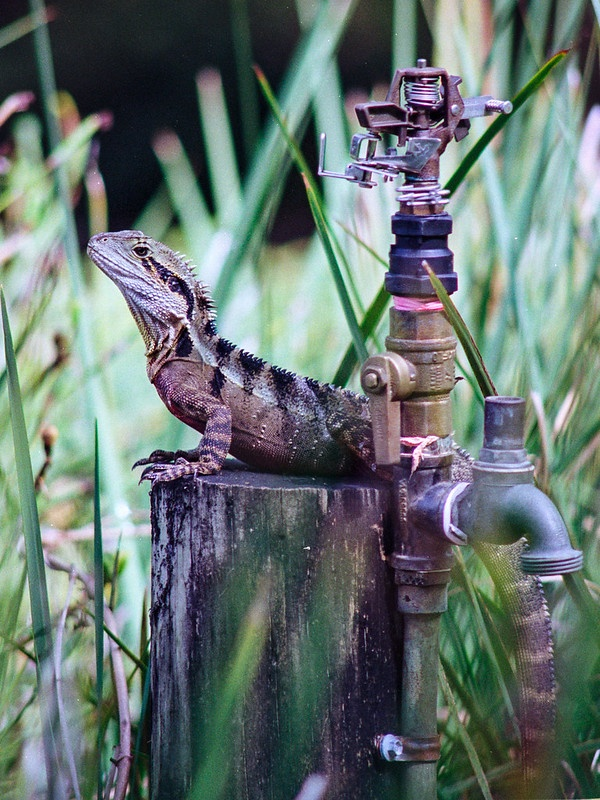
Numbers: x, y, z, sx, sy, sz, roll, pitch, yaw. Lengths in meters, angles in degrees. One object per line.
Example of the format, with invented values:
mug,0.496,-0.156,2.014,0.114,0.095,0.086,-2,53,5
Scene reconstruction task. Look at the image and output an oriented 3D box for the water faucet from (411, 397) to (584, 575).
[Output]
water faucet,0.244,0.099,1.964,0.199,0.206,0.069,6,7,35
